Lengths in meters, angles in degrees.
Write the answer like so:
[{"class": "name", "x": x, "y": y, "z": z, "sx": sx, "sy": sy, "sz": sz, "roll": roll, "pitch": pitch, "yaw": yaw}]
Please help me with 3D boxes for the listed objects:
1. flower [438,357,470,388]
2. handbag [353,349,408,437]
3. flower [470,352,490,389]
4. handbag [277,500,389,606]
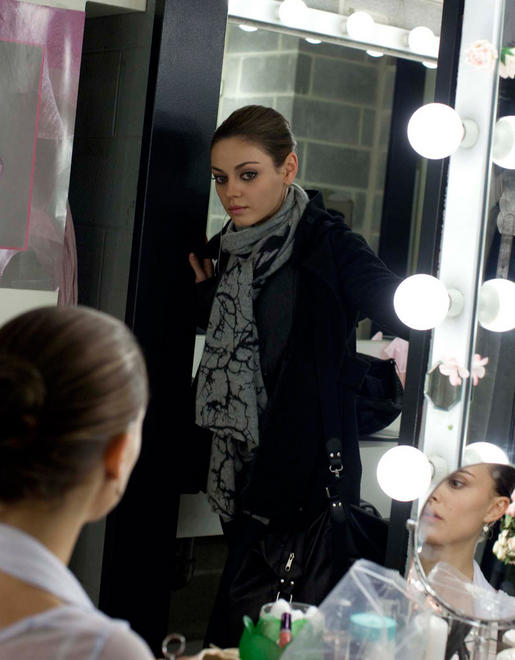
[{"class": "flower", "x": 0.244, "y": 0.050, "z": 0.733, "sx": 0.026, "sy": 0.033, "sz": 0.012, "roll": 15, "pitch": -24, "yaw": 7}, {"class": "handbag", "x": 0.227, "y": 0.125, "z": 1.090, "sx": 0.097, "sy": 0.164, "sz": 0.060, "roll": 6, "pitch": -10, "yaw": 12}, {"class": "flower", "x": 0.267, "y": 0.046, "z": 0.708, "sx": 0.010, "sy": 0.032, "sz": 0.026, "roll": 9, "pitch": -18, "yaw": -22}, {"class": "handbag", "x": 0.161, "y": 0.380, "z": 0.990, "sx": 0.092, "sy": 0.157, "sz": 0.160, "roll": 4, "pitch": -39, "yaw": 20}]
